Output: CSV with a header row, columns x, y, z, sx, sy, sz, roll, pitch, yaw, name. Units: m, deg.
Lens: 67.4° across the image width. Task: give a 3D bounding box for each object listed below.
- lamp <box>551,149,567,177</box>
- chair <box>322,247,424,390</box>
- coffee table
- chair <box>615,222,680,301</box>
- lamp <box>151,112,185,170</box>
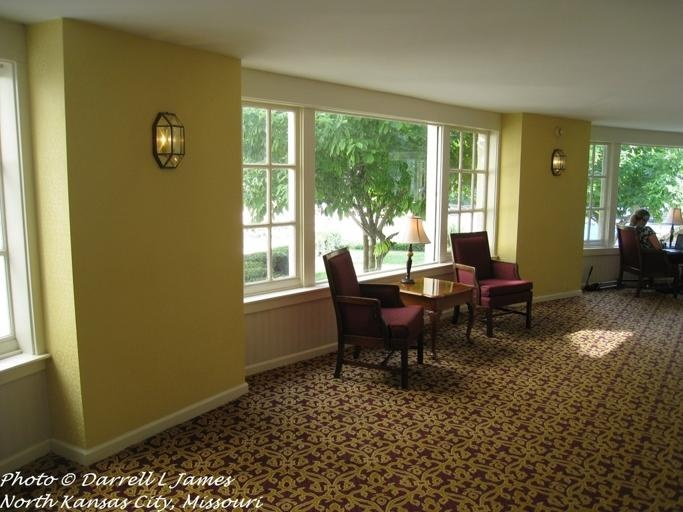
x,y,z,sx,sy,sz,roll,pitch,yaw,name
3.229,-1.408,7.655,0.153,0.509,0.362,2,9,40,lamp
0.309,0.512,5.491,1.169,1.680,1.120,2,7,23,chair
0.966,0.617,5.685,0.755,0.755,0.953,6,10,41,coffee table
5.214,0.047,8.935,1.073,1.512,1.067,-3,9,-8,chair
-1.344,-0.892,3.985,0.070,0.431,0.286,11,17,39,lamp
